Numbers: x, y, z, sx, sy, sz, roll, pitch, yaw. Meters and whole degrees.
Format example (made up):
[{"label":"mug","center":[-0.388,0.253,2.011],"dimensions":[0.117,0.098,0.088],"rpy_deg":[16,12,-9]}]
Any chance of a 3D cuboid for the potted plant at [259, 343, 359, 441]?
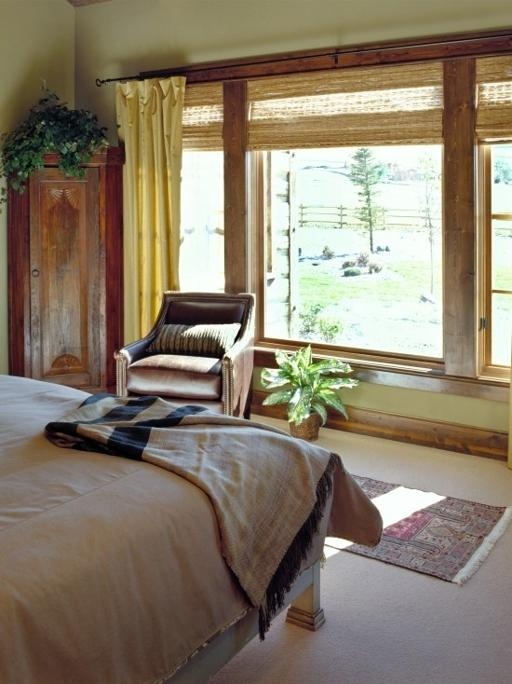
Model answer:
[{"label":"potted plant","center":[0.320,0.310,3.693],"dimensions":[0.631,0.435,0.611],"rpy_deg":[-1,5,-23]}]
